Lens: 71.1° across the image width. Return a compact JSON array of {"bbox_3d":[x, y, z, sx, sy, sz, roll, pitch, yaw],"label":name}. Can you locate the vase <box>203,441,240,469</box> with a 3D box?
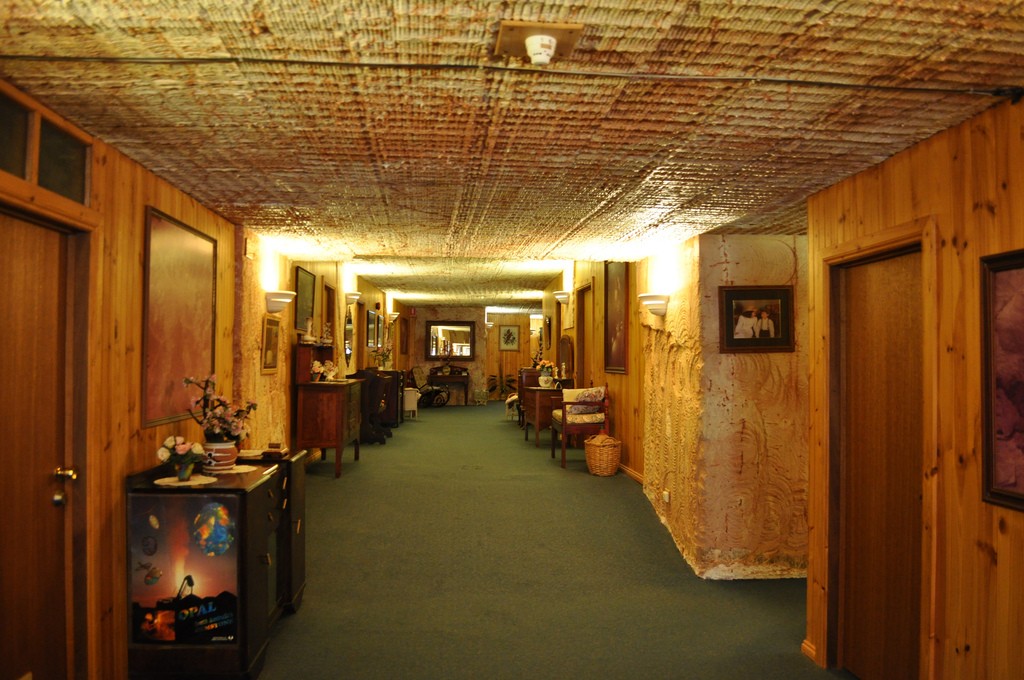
[{"bbox_3d":[-1.838,0.719,4.547,0.190,0.156,0.177,-1,-1,2],"label":"vase"}]

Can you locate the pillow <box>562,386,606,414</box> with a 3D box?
[{"bbox_3d":[0.904,0.684,8.854,0.391,0.108,0.385,-13,13,5],"label":"pillow"}]

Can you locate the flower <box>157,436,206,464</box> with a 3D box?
[{"bbox_3d":[-1.969,0.663,4.285,0.228,0.117,0.214,1,-3,18],"label":"flower"}]

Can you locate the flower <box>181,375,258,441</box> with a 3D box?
[{"bbox_3d":[-1.924,0.471,4.783,0.559,0.495,0.491,0,-3,-4],"label":"flower"}]

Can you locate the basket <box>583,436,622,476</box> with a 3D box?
[{"bbox_3d":[1.000,1.315,8.177,0.431,0.366,0.411,-1,0,-5],"label":"basket"}]

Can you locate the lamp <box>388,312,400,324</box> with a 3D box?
[{"bbox_3d":[-2.421,-0.474,14.566,0.271,0.226,0.182,2,-15,-12],"label":"lamp"}]

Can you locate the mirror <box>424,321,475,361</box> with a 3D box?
[{"bbox_3d":[-1.462,0.034,17.232,1.100,0.791,0.085,0,-6,7],"label":"mirror"}]

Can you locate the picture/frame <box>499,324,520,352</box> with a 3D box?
[{"bbox_3d":[-0.102,-0.041,19.146,0.826,0.897,0.106,1,-2,-2],"label":"picture/frame"}]

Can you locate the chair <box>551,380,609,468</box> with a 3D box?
[{"bbox_3d":[0.832,1.208,9.309,0.849,1.262,1.473,2,-5,-5],"label":"chair"}]

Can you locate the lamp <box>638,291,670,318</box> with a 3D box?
[{"bbox_3d":[1.279,-0.319,6.480,0.223,0.173,0.244,3,-2,-1],"label":"lamp"}]

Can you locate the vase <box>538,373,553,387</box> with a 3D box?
[{"bbox_3d":[0.494,0.606,10.673,0.167,0.141,0.158,-1,3,-8],"label":"vase"}]

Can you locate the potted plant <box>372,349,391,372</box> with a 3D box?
[{"bbox_3d":[-2.370,0.332,13.005,0.391,0.364,0.357,-3,-2,30],"label":"potted plant"}]

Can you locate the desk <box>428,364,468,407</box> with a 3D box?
[{"bbox_3d":[-1.565,1.057,16.964,1.006,0.916,0.942,3,10,9],"label":"desk"}]

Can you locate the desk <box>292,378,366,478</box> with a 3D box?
[{"bbox_3d":[-2.204,1.033,8.767,0.648,0.948,1.662,0,-6,-1],"label":"desk"}]

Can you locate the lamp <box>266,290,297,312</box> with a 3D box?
[{"bbox_3d":[-2.144,-0.371,6.648,0.217,0.149,0.218,-6,4,1],"label":"lamp"}]
